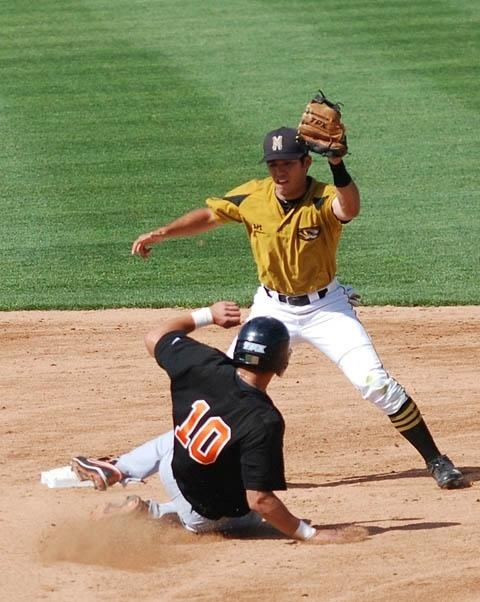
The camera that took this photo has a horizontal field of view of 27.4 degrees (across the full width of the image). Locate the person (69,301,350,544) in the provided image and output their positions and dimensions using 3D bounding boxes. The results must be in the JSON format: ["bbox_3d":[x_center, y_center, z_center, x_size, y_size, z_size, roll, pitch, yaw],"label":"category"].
[{"bbox_3d":[-0.150,0.811,6.155,1.013,0.993,0.734,38,49,11],"label":"person"}]

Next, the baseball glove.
[{"bbox_3d":[0.530,-1.014,6.047,0.310,0.368,0.149,-6,76,21],"label":"baseball glove"}]

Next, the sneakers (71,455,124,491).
[{"bbox_3d":[-0.864,1.006,5.896,0.191,0.132,0.415,-24,25,-18],"label":"sneakers"}]

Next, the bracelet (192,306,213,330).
[{"bbox_3d":[-0.191,0.110,5.600,0.138,0.095,0.105,-29,24,-15],"label":"bracelet"}]

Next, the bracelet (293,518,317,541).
[{"bbox_3d":[0.323,1.232,5.289,0.117,0.147,0.112,9,79,33],"label":"bracelet"}]

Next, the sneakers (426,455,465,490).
[{"bbox_3d":[1.307,1.098,6.297,0.125,0.146,0.305,-40,11,0],"label":"sneakers"}]

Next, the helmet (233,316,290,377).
[{"bbox_3d":[0.123,0.256,5.185,0.291,0.252,0.335,9,45,1],"label":"helmet"}]

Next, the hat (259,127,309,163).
[{"bbox_3d":[0.280,-0.990,6.221,0.226,0.146,0.282,0,12,14],"label":"hat"}]

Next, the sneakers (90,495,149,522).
[{"bbox_3d":[-0.697,1.213,5.711,0.290,0.174,0.086,-11,87,0],"label":"sneakers"}]
